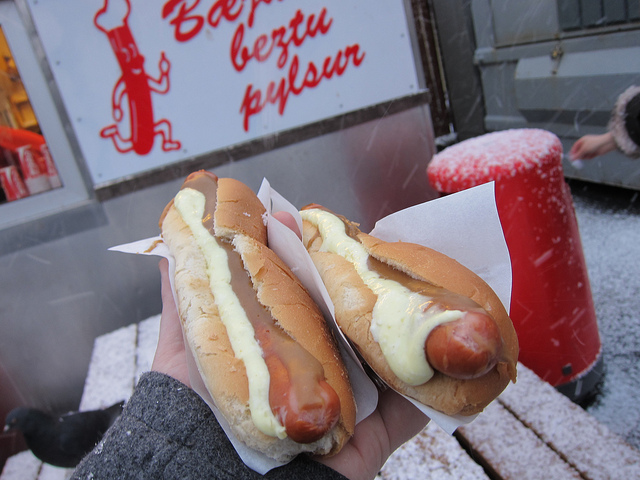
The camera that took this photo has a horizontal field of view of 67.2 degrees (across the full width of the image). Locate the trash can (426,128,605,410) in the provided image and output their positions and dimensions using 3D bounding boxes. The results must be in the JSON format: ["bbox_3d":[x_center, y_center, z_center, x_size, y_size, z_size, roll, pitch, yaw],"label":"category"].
[{"bbox_3d":[0.641,0.034,1.387,0.350,0.745,0.401,-37,17,-31],"label":"trash can"}]

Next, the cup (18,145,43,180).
[{"bbox_3d":[-0.816,-0.213,1.347,0.047,0.092,0.024,-19,24,-24],"label":"cup"}]

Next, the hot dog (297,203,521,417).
[{"bbox_3d":[0.172,0.117,1.202,0.338,0.258,0.739,-18,35,-20],"label":"hot dog"}]

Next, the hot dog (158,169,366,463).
[{"bbox_3d":[-0.215,0.155,1.178,0.306,0.293,0.857,2,36,-31],"label":"hot dog"}]
